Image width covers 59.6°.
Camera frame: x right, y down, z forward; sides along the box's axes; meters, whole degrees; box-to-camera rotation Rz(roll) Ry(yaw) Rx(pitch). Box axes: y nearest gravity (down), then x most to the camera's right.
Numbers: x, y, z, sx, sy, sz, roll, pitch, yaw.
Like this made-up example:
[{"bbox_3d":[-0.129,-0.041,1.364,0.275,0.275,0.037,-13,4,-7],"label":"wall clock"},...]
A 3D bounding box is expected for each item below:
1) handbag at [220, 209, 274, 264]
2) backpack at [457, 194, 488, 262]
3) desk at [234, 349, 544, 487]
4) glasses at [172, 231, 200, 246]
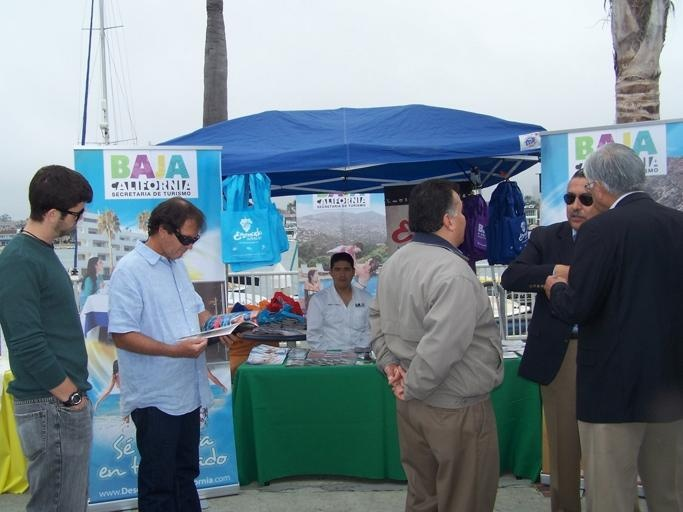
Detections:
[{"bbox_3d":[-0.811,-0.206,5.076,0.428,0.604,0.224,-4,-17,-9],"label":"handbag"},{"bbox_3d":[1.343,-0.296,5.960,0.244,0.727,0.535,1,2,41],"label":"backpack"},{"bbox_3d":[0.312,1.047,3.870,1.098,0.461,1.145,-1,-4,1],"label":"desk"},{"bbox_3d":[-0.870,-0.111,3.289,0.083,0.029,0.086,41,17,31],"label":"glasses"}]
